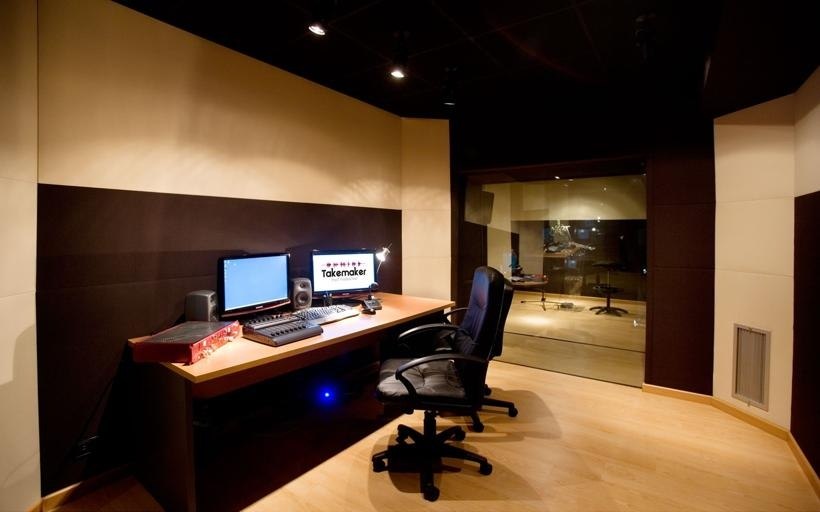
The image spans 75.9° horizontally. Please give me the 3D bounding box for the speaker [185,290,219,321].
[{"bbox_3d":[-2.019,0.486,5.108,0.250,0.420,0.232,5,9,8],"label":"speaker"}]

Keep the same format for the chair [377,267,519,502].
[{"bbox_3d":[0.341,1.240,6.295,1.889,3.024,1.963,2,-1,3],"label":"chair"}]

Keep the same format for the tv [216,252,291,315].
[{"bbox_3d":[-1.557,0.279,5.427,0.793,0.573,0.117,-7,-4,14],"label":"tv"}]

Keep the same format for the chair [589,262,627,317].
[{"bbox_3d":[3.518,0.611,9.214,0.580,0.744,0.562,-1,1,-23],"label":"chair"}]

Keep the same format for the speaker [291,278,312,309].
[{"bbox_3d":[-1.182,0.400,5.792,0.246,0.341,0.250,11,16,44],"label":"speaker"}]
